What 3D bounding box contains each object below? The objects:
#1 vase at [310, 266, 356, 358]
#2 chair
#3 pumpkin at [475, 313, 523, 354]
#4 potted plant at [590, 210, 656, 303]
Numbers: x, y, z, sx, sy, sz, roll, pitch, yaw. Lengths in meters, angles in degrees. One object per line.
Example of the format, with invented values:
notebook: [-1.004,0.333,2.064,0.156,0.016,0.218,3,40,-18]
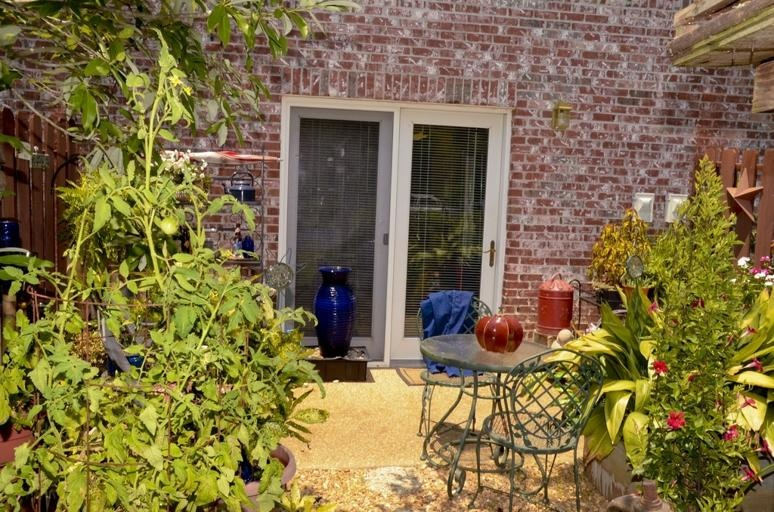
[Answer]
vase: [-0.471,0.516,6.837,0.358,0.790,0.272,0,11,-6]
chair: [0.748,1.043,5.257,0.682,0.924,1.762,0,1,-4]
pumpkin: [0.747,0.480,5.016,0.254,0.270,0.254,-4,7,-33]
potted plant: [2.362,-0.077,7.327,0.401,0.790,0.456,-6,-1,31]
